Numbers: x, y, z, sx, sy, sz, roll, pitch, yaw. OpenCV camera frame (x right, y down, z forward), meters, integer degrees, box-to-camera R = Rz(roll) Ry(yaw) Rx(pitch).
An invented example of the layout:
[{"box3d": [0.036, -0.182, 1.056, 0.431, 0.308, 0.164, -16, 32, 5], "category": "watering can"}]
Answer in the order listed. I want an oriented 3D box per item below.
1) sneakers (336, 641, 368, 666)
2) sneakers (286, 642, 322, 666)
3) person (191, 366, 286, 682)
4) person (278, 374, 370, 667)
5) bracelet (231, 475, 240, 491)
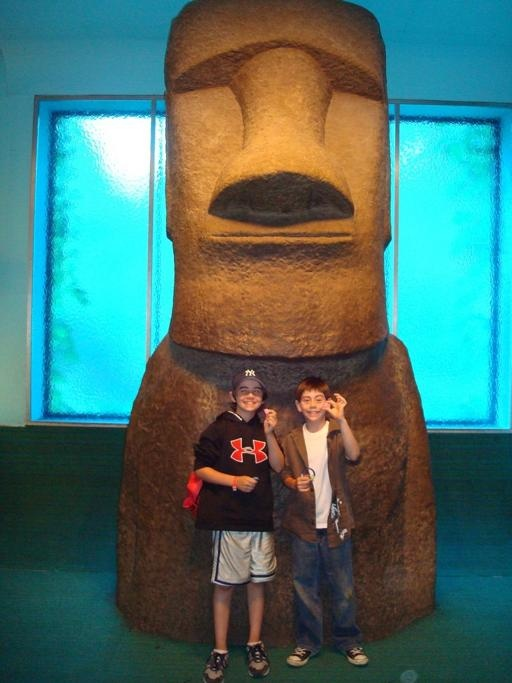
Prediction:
[{"box3d": [0.315, 1.027, 2.273, 0.045, 0.045, 0.117, 5, -21, -15], "category": "sneakers"}, {"box3d": [0.153, 1.022, 2.280, 0.043, 0.047, 0.127, -24, -34, 38], "category": "sneakers"}, {"box3d": [-0.057, 0.574, 2.248, 0.291, 0.957, 0.309, -1, 6, -9], "category": "person"}, {"box3d": [0.218, 0.585, 2.297, 0.274, 0.932, 0.212, 0, 6, -7], "category": "person"}, {"box3d": [-0.065, 0.441, 2.145, 0.029, 0.044, 0.046, 4, 11, 3], "category": "bracelet"}]
